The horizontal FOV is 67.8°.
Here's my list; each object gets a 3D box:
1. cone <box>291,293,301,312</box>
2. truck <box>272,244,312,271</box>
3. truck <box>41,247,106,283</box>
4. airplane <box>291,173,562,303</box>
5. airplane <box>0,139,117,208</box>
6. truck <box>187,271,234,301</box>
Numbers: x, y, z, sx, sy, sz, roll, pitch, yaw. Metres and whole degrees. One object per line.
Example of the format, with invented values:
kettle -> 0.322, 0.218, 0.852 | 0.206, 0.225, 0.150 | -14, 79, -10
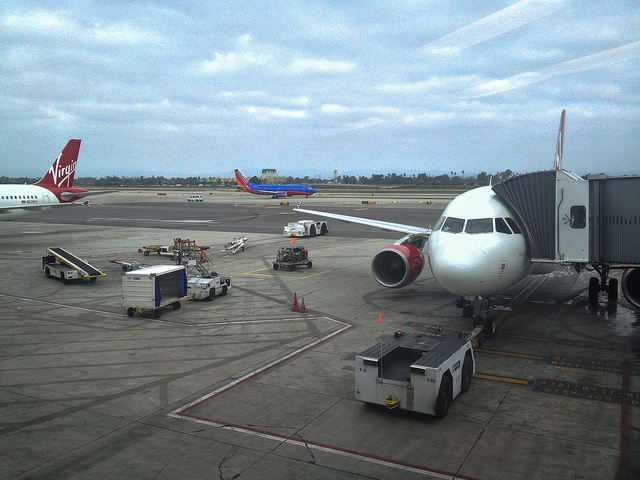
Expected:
cone -> -1.329, 3.440, 26.003 | 0.912, 0.825, 0.748 | -1, 5, 1
truck -> -1.940, 1.480, 37.525 | 1.858, 1.295, 3.503 | 0, 1, 37
truck -> -17.583, 1.877, 33.419 | 6.239, 1.417, 2.221 | 12, 12, 37
airplane -> 7.029, 0.469, 23.879 | 10.639, 2.968, 9.050 | 2, 1, 23
airplane -> -34.668, -8.090, 58.223 | 4.038, 8.233, 10.011 | 9, 16, 36
truck -> -6.877, 2.748, 28.893 | 2.367, 0.947, 2.915 | 5, 7, 5
